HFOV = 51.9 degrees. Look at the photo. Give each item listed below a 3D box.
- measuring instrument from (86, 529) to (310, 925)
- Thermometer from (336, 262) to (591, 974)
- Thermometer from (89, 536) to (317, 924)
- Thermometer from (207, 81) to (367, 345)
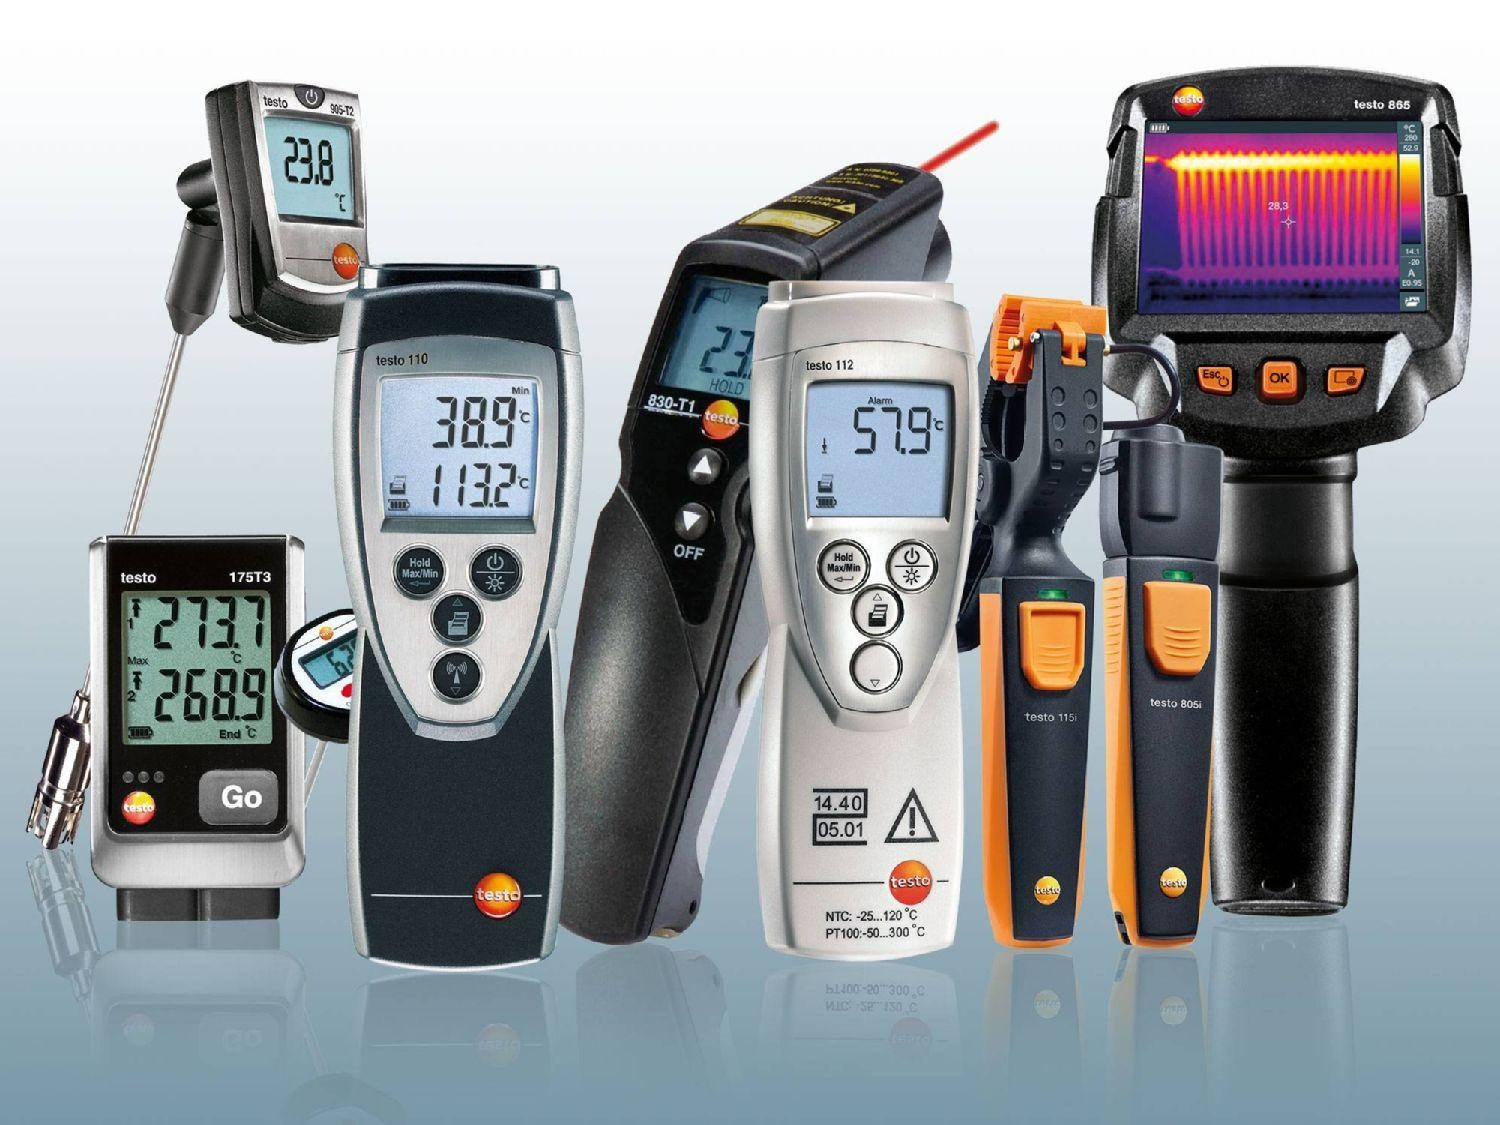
[{"bbox_3d":[-1.314,0.393,3.902,0.721,1.282,0.552,0,-1,-15],"label":"measuring instrument"},{"bbox_3d":[-0.621,0.108,3.458,0.587,1.628,0.517,2,-2,-10],"label":"Thermometer"},{"bbox_3d":[-1.301,0.399,3.890,0.717,1.248,0.552,0,-1,-15],"label":"Thermometer"},{"bbox_3d":[-1.272,-0.966,4.215,0.418,0.722,0.187,0,-6,-17],"label":"Thermometer"}]
